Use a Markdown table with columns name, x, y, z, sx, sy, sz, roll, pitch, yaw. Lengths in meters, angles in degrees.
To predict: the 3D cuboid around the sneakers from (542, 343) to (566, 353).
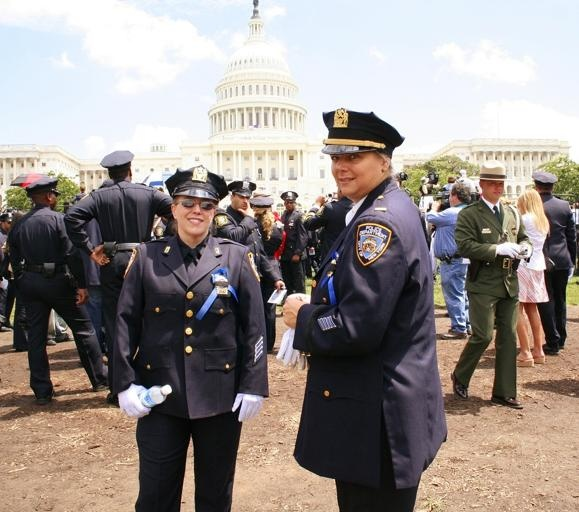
| name | x | y | z | sx | sy | sz | roll | pitch | yaw |
| --- | --- | --- | --- | --- | --- | --- | --- | --- | --- |
| sneakers | 3.718 | 1.276 | 8.524 | 0.159 | 0.150 | 0.365 | 0 | 3 | 2 |

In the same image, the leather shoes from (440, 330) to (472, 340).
| name | x | y | z | sx | sy | sz | roll | pitch | yaw |
| --- | --- | --- | --- | --- | --- | --- | --- | --- | --- |
| leather shoes | 2.664 | 1.269 | 9.655 | 0.491 | 0.206 | 0.169 | -3 | 0 | 2 |

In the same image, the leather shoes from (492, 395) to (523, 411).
| name | x | y | z | sx | sy | sz | roll | pitch | yaw |
| --- | --- | --- | --- | --- | --- | --- | --- | --- | --- |
| leather shoes | 2.271 | 1.518 | 6.251 | 0.302 | 0.113 | 0.100 | -3 | -1 | 31 |

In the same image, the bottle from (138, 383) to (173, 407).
| name | x | y | z | sx | sy | sz | roll | pitch | yaw |
| --- | --- | --- | --- | --- | --- | --- | --- | --- | --- |
| bottle | -0.773 | 0.806 | 3.499 | 0.184 | 0.151 | 0.180 | -1 | 3 | -5 |

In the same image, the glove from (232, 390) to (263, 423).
| name | x | y | z | sx | sy | sz | roll | pitch | yaw |
| --- | --- | --- | --- | --- | --- | --- | --- | --- | --- |
| glove | -0.252 | 0.902 | 3.620 | 0.177 | 0.192 | 0.195 | -1 | 3 | -5 |

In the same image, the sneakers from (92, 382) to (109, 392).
| name | x | y | z | sx | sy | sz | roll | pitch | yaw |
| --- | --- | --- | --- | --- | --- | --- | --- | --- | --- |
| sneakers | -2.171 | 1.503 | 6.954 | 0.085 | 0.085 | 0.192 | -2 | -14 | 5 |

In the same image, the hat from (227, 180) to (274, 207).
| name | x | y | z | sx | sy | sz | roll | pitch | yaw |
| --- | --- | --- | --- | --- | --- | --- | --- | --- | --- |
| hat | -0.594 | -0.950 | 8.722 | 0.667 | 0.304 | 0.694 | 22 | -1 | -22 |

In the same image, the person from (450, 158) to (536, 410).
| name | x | y | z | sx | sy | sz | roll | pitch | yaw |
| --- | --- | --- | --- | --- | --- | --- | --- | --- | --- |
| person | 2.188 | 0.268 | 6.432 | 0.716 | 2.558 | 0.818 | 3 | 5 | 43 |

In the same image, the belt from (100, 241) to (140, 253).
| name | x | y | z | sx | sy | sz | roll | pitch | yaw |
| --- | --- | --- | --- | --- | --- | --- | --- | --- | --- |
| belt | -1.660 | -0.084 | 5.865 | 0.238 | 0.080 | 0.169 | -1 | -1 | -16 |

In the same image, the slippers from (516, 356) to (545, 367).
| name | x | y | z | sx | sy | sz | roll | pitch | yaw |
| --- | --- | --- | --- | --- | --- | --- | --- | --- | --- |
| slippers | 3.145 | 1.351 | 7.809 | 0.279 | 0.090 | 0.151 | 3 | -6 | -21 |

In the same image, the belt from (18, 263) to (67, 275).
| name | x | y | z | sx | sy | sz | roll | pitch | yaw |
| --- | --- | --- | --- | --- | --- | --- | --- | --- | --- |
| belt | -2.772 | 0.142 | 6.775 | 0.527 | 0.132 | 0.186 | 0 | 3 | 14 |

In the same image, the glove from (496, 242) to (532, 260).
| name | x | y | z | sx | sy | sz | roll | pitch | yaw |
| --- | --- | --- | --- | --- | --- | --- | --- | --- | --- |
| glove | 2.299 | -0.058 | 6.169 | 0.248 | 0.098 | 0.242 | 5 | 3 | 22 |

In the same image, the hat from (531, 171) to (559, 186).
| name | x | y | z | sx | sy | sz | roll | pitch | yaw |
| --- | --- | --- | --- | --- | --- | --- | --- | --- | --- |
| hat | 3.668 | -1.112 | 8.632 | 0.320 | 0.106 | 0.280 | 14 | 14 | 15 |

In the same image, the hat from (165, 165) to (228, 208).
| name | x | y | z | sx | sy | sz | roll | pitch | yaw |
| --- | --- | --- | --- | --- | --- | --- | --- | --- | --- |
| hat | -0.569 | -0.448 | 3.769 | 0.284 | 0.136 | 0.287 | 4 | -15 | -12 |

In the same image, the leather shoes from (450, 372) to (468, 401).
| name | x | y | z | sx | sy | sz | roll | pitch | yaw |
| --- | --- | --- | --- | --- | --- | --- | --- | --- | --- |
| leather shoes | 1.842 | 1.412 | 6.498 | 0.132 | 0.297 | 0.116 | -17 | -6 | 36 |

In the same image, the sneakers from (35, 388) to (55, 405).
| name | x | y | z | sx | sy | sz | roll | pitch | yaw |
| --- | --- | --- | --- | --- | --- | --- | --- | --- | --- |
| sneakers | -2.657 | 1.517 | 6.545 | 0.098 | 0.109 | 0.262 | 1 | 1 | 0 |
